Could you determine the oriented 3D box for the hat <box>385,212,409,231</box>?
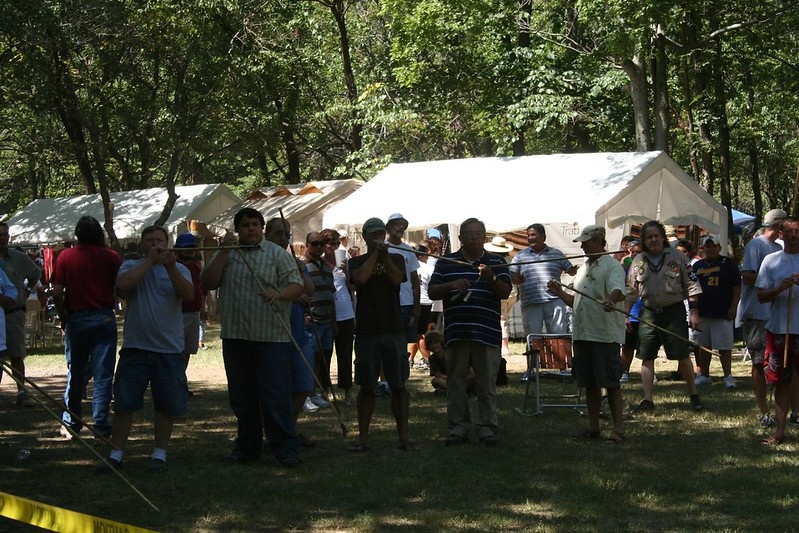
[{"bbox_3d":[-0.095,-0.697,13.526,0.316,0.145,0.251,-16,-25,33],"label":"hat"}]

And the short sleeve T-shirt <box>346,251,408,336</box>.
[{"bbox_3d":[-0.335,0.384,12.402,0.808,1.011,0.451,5,14,19],"label":"short sleeve T-shirt"}]

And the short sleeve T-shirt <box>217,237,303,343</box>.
[{"bbox_3d":[-1.800,0.290,11.917,1.531,1.462,0.856,1,-6,-2],"label":"short sleeve T-shirt"}]

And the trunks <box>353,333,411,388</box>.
[{"bbox_3d":[-0.231,1.204,12.527,0.784,0.900,0.522,-3,-9,-5],"label":"trunks"}]

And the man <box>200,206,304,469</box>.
[{"bbox_3d":[-1.873,0.838,11.920,1.368,3.131,1.178,-3,-6,21],"label":"man"}]

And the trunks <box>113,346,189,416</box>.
[{"bbox_3d":[-3.111,1.424,11.724,1.148,1.099,0.452,1,-7,-7],"label":"trunks"}]

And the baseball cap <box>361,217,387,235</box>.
[{"bbox_3d":[-0.344,-0.535,12.324,0.269,0.204,0.226,2,13,5],"label":"baseball cap"}]

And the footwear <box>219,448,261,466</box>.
[{"bbox_3d":[-2.031,2.443,12.026,0.502,0.188,0.162,0,1,-9],"label":"footwear"}]
